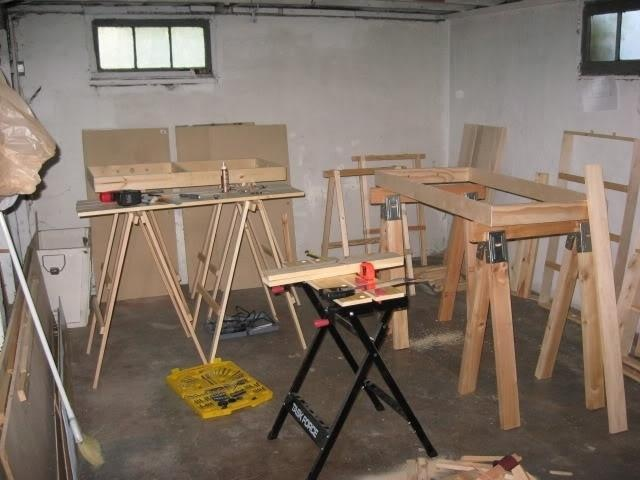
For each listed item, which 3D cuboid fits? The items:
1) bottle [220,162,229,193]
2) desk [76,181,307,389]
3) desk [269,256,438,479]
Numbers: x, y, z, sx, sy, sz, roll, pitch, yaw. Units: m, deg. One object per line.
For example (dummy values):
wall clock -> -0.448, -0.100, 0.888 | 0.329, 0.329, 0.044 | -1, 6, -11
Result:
bottle -> -0.915, -0.601, 4.841 | 0.088, 0.256, 0.284 | -6, 14, -10
desk -> -1.424, 0.496, 5.220 | 1.801, 1.349, 0.645 | -8, 20, -23
desk -> 0.203, 0.837, 3.515 | 1.052, 1.403, 0.820 | -9, 15, -23
